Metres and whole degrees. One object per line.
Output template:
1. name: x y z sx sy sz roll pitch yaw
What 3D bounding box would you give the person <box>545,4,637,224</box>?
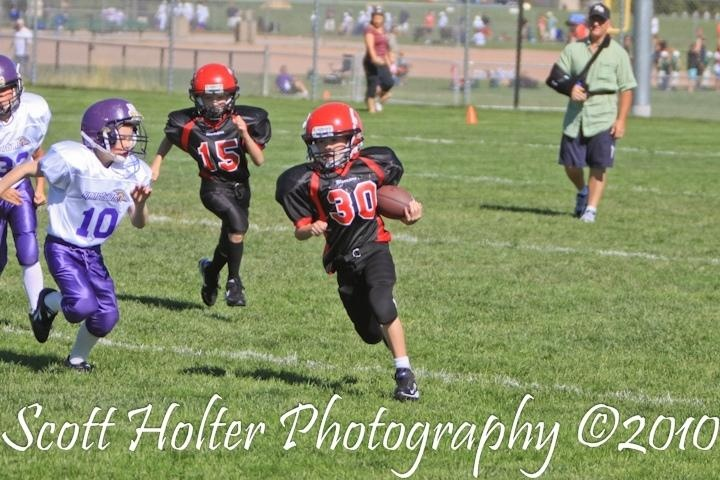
1. person: 2.298 -1.262 11.886 0.841 2.114 0.535 1 8 12

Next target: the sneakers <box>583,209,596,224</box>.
1. sneakers: 2.266 -0.257 11.866 0.145 0.139 0.243 1 8 11

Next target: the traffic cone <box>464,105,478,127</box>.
1. traffic cone: 1.278 -1.427 13.787 0.216 0.231 0.214 -1 4 -2

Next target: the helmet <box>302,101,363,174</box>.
1. helmet: -0.218 -0.753 8.779 0.453 0.449 0.553 0 8 36

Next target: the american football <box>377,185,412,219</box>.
1. american football: 0.257 -0.264 8.682 0.252 0.156 0.201 21 -12 35

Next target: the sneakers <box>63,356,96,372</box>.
1. sneakers: -2.072 0.904 8.764 0.189 0.068 0.094 4 5 27

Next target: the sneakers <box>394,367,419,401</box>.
1. sneakers: 0.328 1.001 8.476 0.180 0.224 0.185 0 8 4

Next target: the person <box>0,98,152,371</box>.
1. person: -2.041 -0.046 8.796 0.975 1.946 0.441 -2 8 -11

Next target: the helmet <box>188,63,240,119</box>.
1. helmet: -1.229 -1.233 9.903 0.422 0.397 0.500 -6 22 -14

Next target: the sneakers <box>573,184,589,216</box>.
1. sneakers: 2.226 -0.396 12.055 0.143 0.311 0.115 7 -1 0

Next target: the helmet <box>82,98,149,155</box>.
1. helmet: -1.847 -0.852 8.826 0.516 0.383 0.377 6 8 8

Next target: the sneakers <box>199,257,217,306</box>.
1. sneakers: -1.271 0.338 10.065 0.138 0.405 0.187 -11 3 -25

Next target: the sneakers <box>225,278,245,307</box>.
1. sneakers: -1.054 0.431 9.914 0.161 0.224 0.145 -1 8 -8

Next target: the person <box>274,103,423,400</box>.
1. person: -0.082 0.051 8.657 1.073 2.044 0.588 2 8 14

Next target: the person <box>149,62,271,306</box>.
1. person: -1.209 -0.472 10.164 0.897 2.004 0.717 4 9 26

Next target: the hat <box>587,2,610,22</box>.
1. hat: 2.355 -2.236 11.784 0.199 0.174 0.202 1 8 11

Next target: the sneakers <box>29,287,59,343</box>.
1. sneakers: -2.404 0.591 8.956 0.195 0.460 0.160 15 17 40
